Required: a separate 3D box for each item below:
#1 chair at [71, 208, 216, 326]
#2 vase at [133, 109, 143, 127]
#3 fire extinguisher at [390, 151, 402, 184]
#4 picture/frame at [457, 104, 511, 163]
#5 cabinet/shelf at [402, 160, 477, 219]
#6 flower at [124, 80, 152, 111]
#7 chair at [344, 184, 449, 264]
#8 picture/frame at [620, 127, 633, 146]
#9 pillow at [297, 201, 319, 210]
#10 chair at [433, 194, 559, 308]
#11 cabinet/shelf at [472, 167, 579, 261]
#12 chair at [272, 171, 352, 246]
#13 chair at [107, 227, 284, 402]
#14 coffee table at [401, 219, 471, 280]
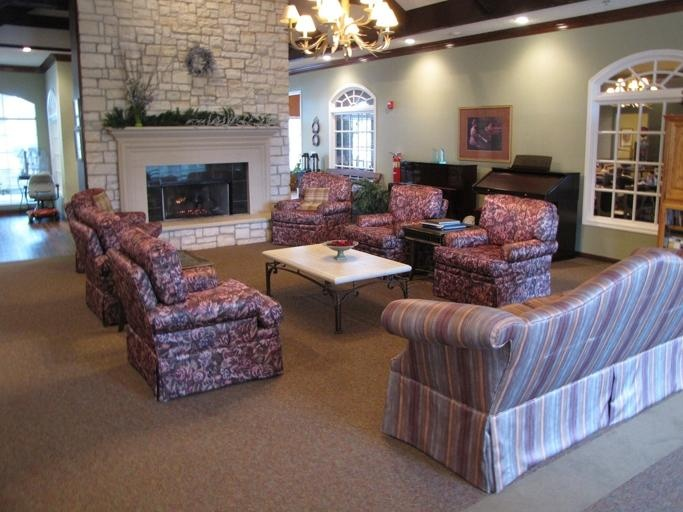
[{"bbox_3d":[-2.336,0.005,5.712,1.078,1.277,1.733,-11,12,-36],"label":"chair"},{"bbox_3d":[-2.950,-2.011,7.406,0.124,0.249,0.245,-4,13,-15],"label":"vase"},{"bbox_3d":[1.095,-1.770,10.095,0.158,0.559,0.412,1,12,8],"label":"fire extinguisher"},{"bbox_3d":[2.411,-2.080,8.552,0.043,0.957,0.968,-11,15,-39],"label":"picture/frame"},{"bbox_3d":[1.624,-1.063,8.127,0.372,1.172,1.174,-1,9,-40],"label":"cabinet/shelf"},{"bbox_3d":[-2.954,-2.376,7.492,0.383,0.455,0.285,-6,14,-25],"label":"flower"},{"bbox_3d":[0.679,-0.425,6.833,1.278,1.015,1.312,2,11,-1],"label":"chair"},{"bbox_3d":[3.894,-1.652,6.991,0.029,0.321,0.219,-9,15,-36],"label":"picture/frame"},{"bbox_3d":[-0.538,-0.828,8.347,0.185,0.030,0.205,-1,35,10],"label":"pillow"},{"bbox_3d":[1.690,-0.102,5.850,1.216,1.305,1.238,-6,9,-33],"label":"chair"},{"bbox_3d":[2.357,-0.523,6.368,0.656,1.254,1.222,-3,9,-28],"label":"cabinet/shelf"},{"bbox_3d":[-0.500,-0.782,8.401,1.274,1.092,1.297,-7,14,-26],"label":"chair"},{"bbox_3d":[-1.239,0.355,4.231,1.272,1.141,1.326,-3,13,-21],"label":"chair"},{"bbox_3d":[1.090,-0.098,6.300,0.799,0.823,0.708,-10,13,-41],"label":"coffee table"}]
